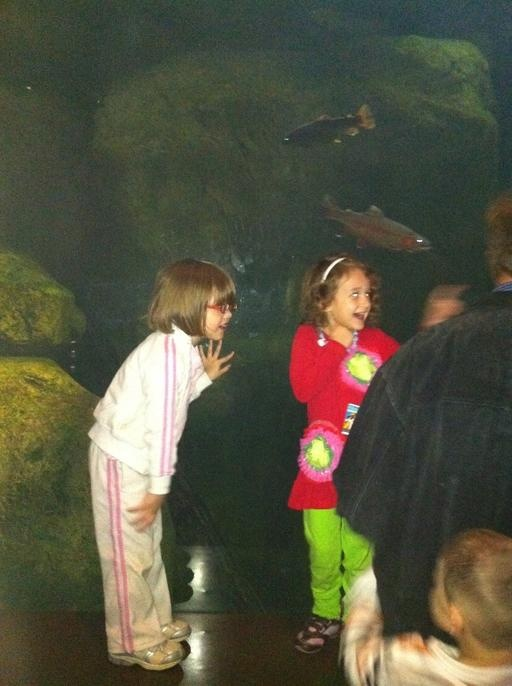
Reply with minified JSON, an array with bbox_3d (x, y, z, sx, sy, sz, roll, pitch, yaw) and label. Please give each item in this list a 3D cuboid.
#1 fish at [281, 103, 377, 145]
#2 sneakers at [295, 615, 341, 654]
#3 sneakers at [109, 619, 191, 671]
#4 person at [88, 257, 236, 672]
[{"bbox_3d":[0.262,-0.705,2.525,0.370,0.098,0.082,-9,19,6],"label":"fish"},{"bbox_3d":[0.190,0.901,2.420,0.169,0.058,0.081,-25,23,-22],"label":"sneakers"},{"bbox_3d":[-0.310,0.912,2.369,0.217,0.064,0.107,-2,12,-8],"label":"sneakers"},{"bbox_3d":[-0.251,0.362,2.345,0.483,1.218,0.254,-6,10,-15],"label":"person"}]
